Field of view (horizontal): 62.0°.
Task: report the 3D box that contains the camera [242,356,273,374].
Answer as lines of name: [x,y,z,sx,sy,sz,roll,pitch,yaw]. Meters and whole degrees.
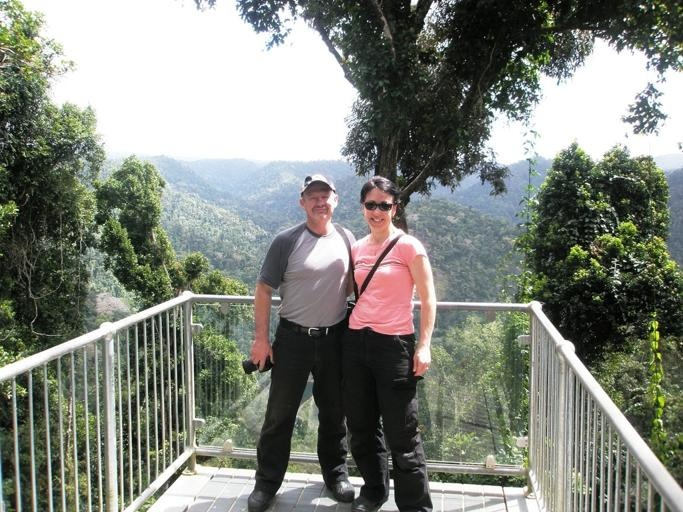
camera: [-0.684,0.862,4.495,0.211,0.096,0.123,-16,-22,38]

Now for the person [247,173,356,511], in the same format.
person: [-0.290,0.699,4.523,0.858,2.635,0.556,3,-7,1]

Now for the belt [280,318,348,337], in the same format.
belt: [-0.229,0.550,4.428,0.510,0.150,0.148,6,-7,-11]

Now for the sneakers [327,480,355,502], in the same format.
sneakers: [-0.010,1.891,4.597,0.104,0.109,0.252,-9,-12,-29]
